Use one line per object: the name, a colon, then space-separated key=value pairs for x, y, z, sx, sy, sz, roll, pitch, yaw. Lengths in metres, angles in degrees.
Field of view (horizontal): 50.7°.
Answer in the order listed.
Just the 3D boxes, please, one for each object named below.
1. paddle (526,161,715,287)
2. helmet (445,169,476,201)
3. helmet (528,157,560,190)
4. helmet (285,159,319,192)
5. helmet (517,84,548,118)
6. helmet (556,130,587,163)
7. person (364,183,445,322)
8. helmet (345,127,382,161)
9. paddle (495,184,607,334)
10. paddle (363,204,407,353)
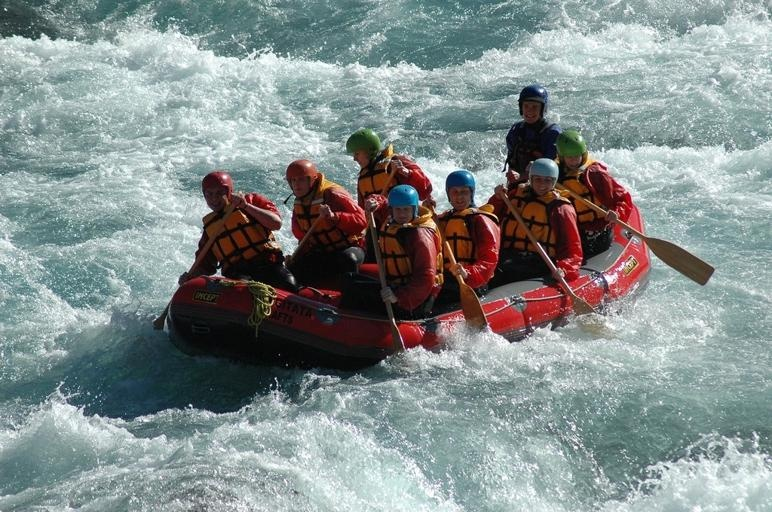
paddle: x=3.369 y=-0.405 z=11.332 sx=2.563 sy=0.109 sz=0.309 roll=34 pitch=-1 yaw=26
helmet: x=0.924 y=-0.896 z=10.400 sx=0.373 sy=0.364 sz=0.420 roll=-3 pitch=-5 yaw=2
helmet: x=2.037 y=-1.040 z=10.592 sx=0.359 sy=0.400 sz=0.443 roll=2 pitch=9 yaw=3
helmet: x=-0.965 y=-1.032 z=10.596 sx=0.399 sy=0.425 sz=0.437 roll=0 pitch=11 yaw=18
helmet: x=2.074 y=-2.235 z=11.618 sx=0.408 sy=0.408 sz=0.470 roll=0 pitch=2 yaw=12
helmet: x=2.549 y=-1.500 z=11.237 sx=0.350 sy=0.387 sz=0.428 roll=-10 pitch=-10 yaw=-13
person: x=0.299 y=-0.015 z=9.871 sx=0.785 sy=1.624 sz=0.687 roll=0 pitch=18 yaw=3
helmet: x=-0.295 y=-1.572 z=11.248 sx=0.492 sy=0.384 sz=0.341 roll=-26 pitch=31 yaw=8
paddle: x=2.091 y=0.093 z=10.637 sx=0.274 sy=2.374 sz=0.190 roll=-39 pitch=-23 yaw=16
paddle: x=-0.092 y=0.090 z=10.042 sx=0.280 sy=2.273 sz=0.132 roll=-20 pitch=-17 yaw=16
